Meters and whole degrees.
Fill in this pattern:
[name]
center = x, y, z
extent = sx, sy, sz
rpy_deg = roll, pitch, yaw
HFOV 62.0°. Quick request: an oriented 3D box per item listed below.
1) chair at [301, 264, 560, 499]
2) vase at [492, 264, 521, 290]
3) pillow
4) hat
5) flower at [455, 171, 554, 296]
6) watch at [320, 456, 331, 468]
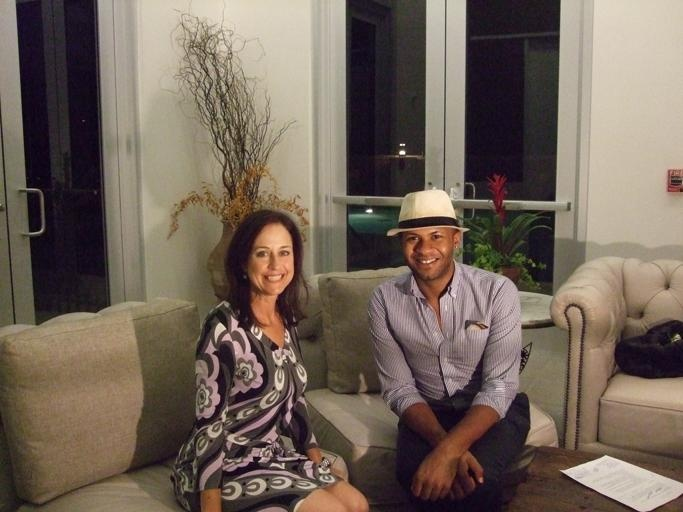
[chair]
center = 0.279, 0.601, 2.674
extent = 0.928, 0.939, 0.995
rpy_deg = -5, 5, -20
[vase]
center = 0.912, 0.102, 3.102
extent = 0.151, 0.134, 0.162
rpy_deg = -1, -2, 1
[pillow]
center = 0.170, 0.382, 2.840
extent = 0.519, 0.578, 0.201
rpy_deg = -1, 3, -12
[hat]
center = 0.349, -0.176, 2.433
extent = 0.308, 0.182, 0.326
rpy_deg = -5, 1, -33
[flower]
center = 0.936, -0.114, 3.342
extent = 0.360, 0.548, 0.443
rpy_deg = -6, -2, -27
[watch]
center = -0.060, 0.765, 2.098
extent = 0.019, 0.026, 0.057
rpy_deg = -1, 5, 11
